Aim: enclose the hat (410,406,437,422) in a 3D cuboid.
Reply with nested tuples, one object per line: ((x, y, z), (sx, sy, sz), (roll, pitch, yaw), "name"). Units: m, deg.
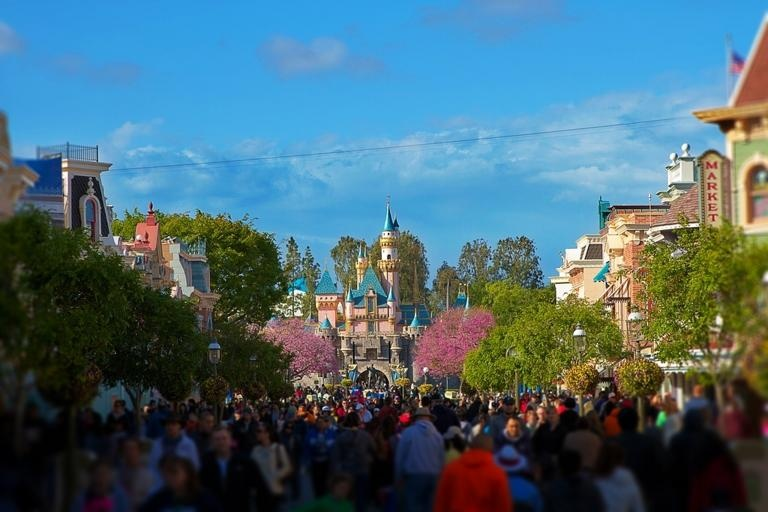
((0.983, 3.736, 37.100), (0.568, 0.191, 0.583), (1, -22, -1), "hat")

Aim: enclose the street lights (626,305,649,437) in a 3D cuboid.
((7.923, 3.514, 48.751), (0.719, 3.941, 0.719), (-4, -5, 7), "street lights")
